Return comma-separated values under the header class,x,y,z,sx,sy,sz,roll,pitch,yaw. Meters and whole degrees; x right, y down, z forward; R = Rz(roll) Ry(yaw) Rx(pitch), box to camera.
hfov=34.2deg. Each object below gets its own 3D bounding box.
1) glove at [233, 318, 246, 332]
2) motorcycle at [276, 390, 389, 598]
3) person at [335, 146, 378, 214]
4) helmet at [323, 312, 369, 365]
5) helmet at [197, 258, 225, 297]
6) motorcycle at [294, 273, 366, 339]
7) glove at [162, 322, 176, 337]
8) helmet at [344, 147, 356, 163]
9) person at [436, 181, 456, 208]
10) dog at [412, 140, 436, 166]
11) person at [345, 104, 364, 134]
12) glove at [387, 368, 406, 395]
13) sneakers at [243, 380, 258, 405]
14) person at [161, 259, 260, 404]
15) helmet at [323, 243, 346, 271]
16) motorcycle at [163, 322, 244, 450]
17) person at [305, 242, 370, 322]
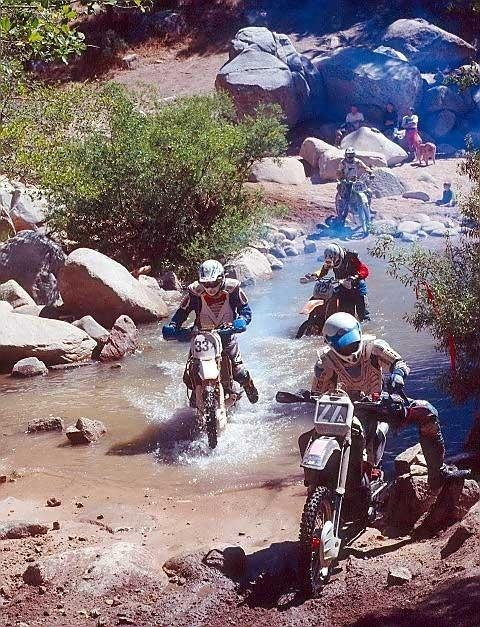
class,x,y,z,sx,sy,sz,roll,pitch,yaw
glove,0.018,0.132,8.737,0.121,0.144,0.150,6,-14,8
motorcycle,0.617,1.233,5.559,0.601,1.274,1.125,2,15,38
person,3.076,-3.492,21.456,0.648,1.922,1.241,-10,12,-7
helmet,0.811,0.181,6.185,0.326,0.342,0.368,-15,30,-1
helmet,-0.331,-0.397,9.140,0.306,0.400,0.452,-8,11,-2
motorcycle,1.266,-0.120,10.421,0.668,0.724,1.250,22,22,37
glove,-0.788,0.198,8.734,0.160,0.136,0.392,-8,11,-4
helmet,2.932,-4.170,20.882,0.333,0.379,0.395,-2,11,0
person,6.226,-3.570,23.804,0.533,0.722,1.404,-4,11,14
dog,6.882,-5.850,29.176,0.770,0.806,1.129,-6,11,8
person,4.536,-7.696,31.260,0.740,0.968,0.731,-6,12,9
glove,1.141,0.495,5.776,0.135,0.167,0.076,14,-23,-13
sneakers,0.119,0.968,9.647,0.127,0.344,0.153,-17,9,22
person,-0.281,0.241,9.487,0.943,1.829,0.698,-5,16,8
helmet,1.341,-0.806,10.947,0.258,0.323,0.335,-1,17,18
motorcycle,-0.323,0.769,8.828,0.652,1.317,1.259,-9,11,-3
person,1.315,-0.386,10.777,0.725,0.760,1.280,0,20,29
